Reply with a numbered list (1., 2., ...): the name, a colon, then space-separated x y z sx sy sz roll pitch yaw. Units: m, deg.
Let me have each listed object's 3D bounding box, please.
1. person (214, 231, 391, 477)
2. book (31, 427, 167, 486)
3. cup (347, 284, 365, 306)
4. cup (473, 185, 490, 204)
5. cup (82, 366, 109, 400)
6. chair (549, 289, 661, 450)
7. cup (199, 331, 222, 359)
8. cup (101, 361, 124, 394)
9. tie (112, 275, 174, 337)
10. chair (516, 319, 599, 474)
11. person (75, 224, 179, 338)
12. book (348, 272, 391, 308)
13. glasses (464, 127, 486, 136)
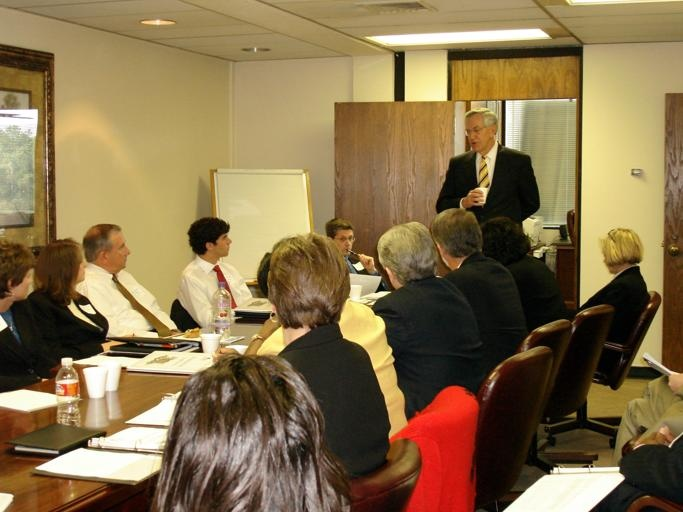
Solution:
1. person: -0.082 0.376 1.490 0.437 0.810 0.325 3 11 35
2. book: -0.629 0.559 1.474 0.337 0.071 0.272 -4 6 15
3. cup: 0.105 0.269 3.701 0.134 0.159 0.160 -1 -32 4
4. cup: 1.147 -0.506 4.333 0.155 0.158 0.191 0 -1 12
5. cup: -0.938 0.475 2.000 0.107 0.118 0.107 -1 2 0
6. chair: 1.975 0.822 4.067 0.688 1.156 0.705 11 -1 36
7. cup: -0.654 0.443 2.617 0.114 0.118 0.120 0 -1 0
8. cup: -0.910 0.478 2.082 0.097 0.107 0.094 2 7 0
9. tie: -1.540 0.380 4.008 0.186 0.571 0.056 -44 7 -22
10. chair: 1.034 0.748 2.842 0.563 0.794 0.534 -6 -5 19
11. person: -1.571 0.222 3.825 0.637 0.874 0.815 2 15 -10
12. book: 0.212 0.252 3.899 0.257 0.211 0.213 -1 1 22
13. glasses: 1.136 -1.081 4.521 0.087 0.077 0.205 -8 6 -20
